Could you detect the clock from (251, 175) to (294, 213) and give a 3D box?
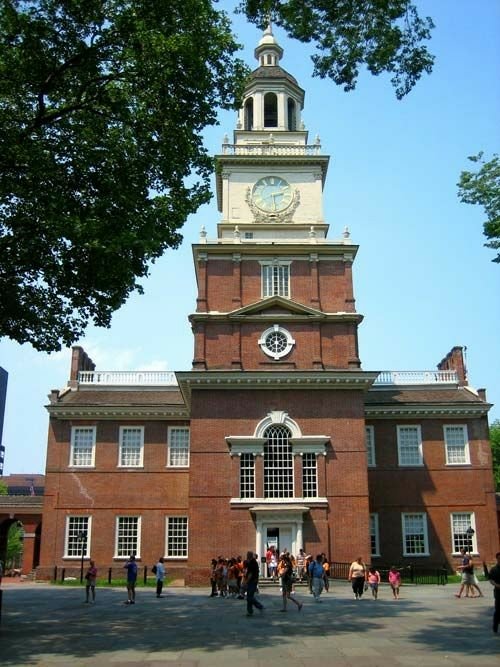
[{"bbox_3d":[1.127,-7.412,34.464,2.151,2.018,0.125,5,-17,0],"label":"clock"}]

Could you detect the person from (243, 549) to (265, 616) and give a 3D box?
[{"bbox_3d":[0.007,6.473,16.591,0.685,1.552,0.536,-10,-28,25],"label":"person"}]

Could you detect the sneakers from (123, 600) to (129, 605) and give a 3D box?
[{"bbox_3d":[-4.007,8.694,20.745,0.146,0.155,0.382,2,-22,-5],"label":"sneakers"}]
